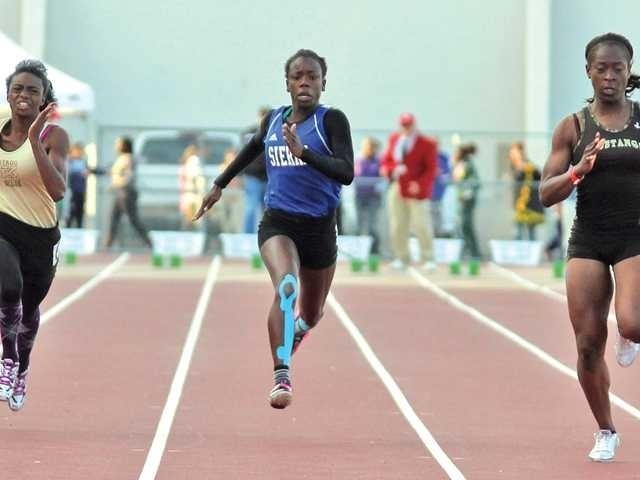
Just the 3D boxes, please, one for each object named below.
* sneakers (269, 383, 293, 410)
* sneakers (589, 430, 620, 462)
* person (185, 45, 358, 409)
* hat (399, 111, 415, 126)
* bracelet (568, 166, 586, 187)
[{"bbox_3d":[-0.238,0.930,5.304,0.122,0.178,0.177,1,7,-3],"label":"sneakers"},{"bbox_3d":[1.729,1.213,5.428,0.137,0.124,0.333,2,20,30],"label":"sneakers"},{"bbox_3d":[-0.198,-0.153,5.780,0.775,2.162,1.252,0,7,-10],"label":"person"},{"bbox_3d":[1.203,-1.643,12.376,0.182,0.165,0.328,3,7,10],"label":"hat"},{"bbox_3d":[1.473,-0.366,5.181,0.095,0.050,0.114,24,12,-10],"label":"bracelet"}]
